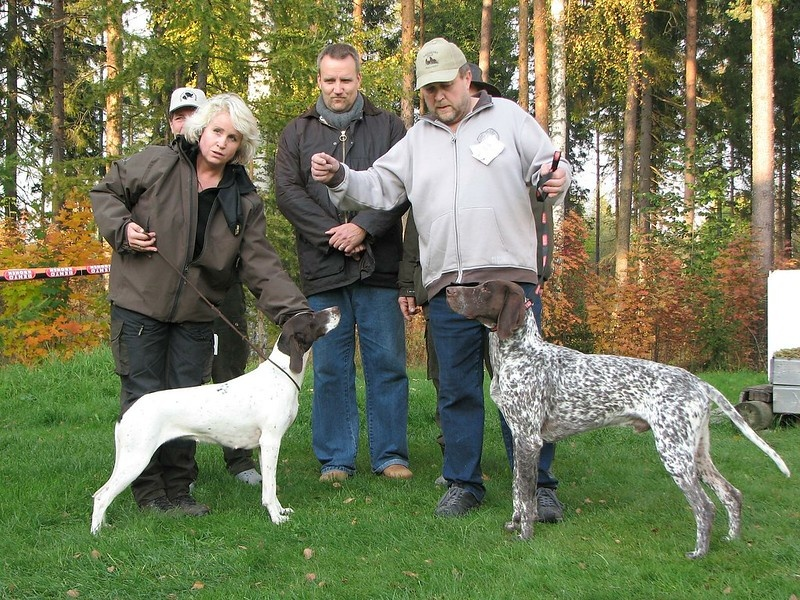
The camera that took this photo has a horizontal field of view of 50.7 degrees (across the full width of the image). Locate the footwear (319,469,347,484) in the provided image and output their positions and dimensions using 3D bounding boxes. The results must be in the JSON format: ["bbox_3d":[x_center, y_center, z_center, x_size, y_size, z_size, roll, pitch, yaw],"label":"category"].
[{"bbox_3d":[-0.664,1.775,8.494,0.202,0.077,0.127,-7,-2,-1],"label":"footwear"}]

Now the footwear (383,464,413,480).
[{"bbox_3d":[-0.026,1.760,8.640,0.302,0.143,0.121,-4,-2,36],"label":"footwear"}]

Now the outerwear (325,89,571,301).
[{"bbox_3d":[0.649,-0.953,8.270,2.708,2.371,1.595,-5,-2,22],"label":"outerwear"}]

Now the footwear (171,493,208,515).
[{"bbox_3d":[-1.922,1.863,7.748,0.359,0.161,0.140,3,3,23],"label":"footwear"}]

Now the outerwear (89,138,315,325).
[{"bbox_3d":[-1.818,-0.566,7.910,1.981,1.699,0.994,15,0,-6],"label":"outerwear"}]

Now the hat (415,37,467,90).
[{"bbox_3d":[0.357,-2.100,7.539,0.310,0.262,0.510,-10,31,25],"label":"hat"}]

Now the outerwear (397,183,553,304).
[{"bbox_3d":[0.626,-0.887,8.641,1.588,1.920,1.048,-2,-5,0],"label":"outerwear"}]

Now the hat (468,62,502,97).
[{"bbox_3d":[0.846,-2.262,8.633,0.348,0.209,0.516,-23,3,3],"label":"hat"}]
